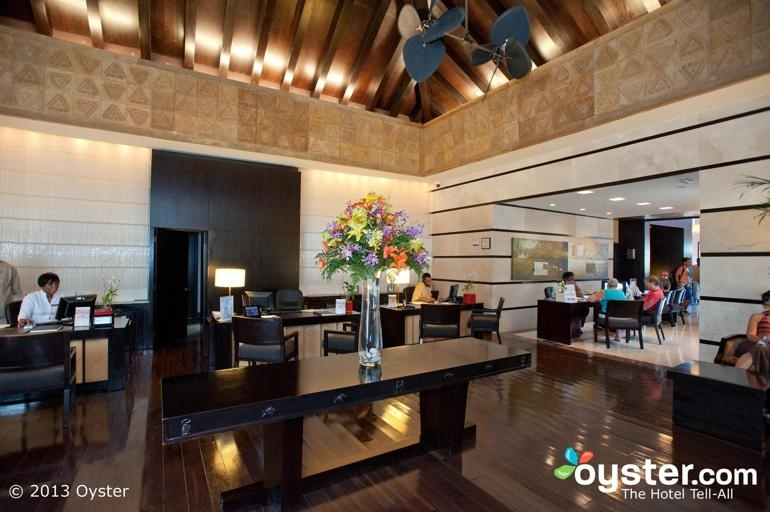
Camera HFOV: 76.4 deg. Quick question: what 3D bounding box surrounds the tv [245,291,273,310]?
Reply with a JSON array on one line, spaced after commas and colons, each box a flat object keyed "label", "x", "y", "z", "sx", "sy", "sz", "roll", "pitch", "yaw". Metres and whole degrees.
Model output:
[{"label": "tv", "x": -2.148, "y": 0.662, "z": 8.283, "sx": 0.498, "sy": 0.422, "sz": 0.269, "roll": 1, "pitch": -5, "yaw": -9}]

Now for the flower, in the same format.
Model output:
[{"label": "flower", "x": -0.236, "y": -0.164, "z": 5.975, "sx": 1.247, "sy": 1.091, "sz": 1.045, "roll": -1, "pitch": 2, "yaw": -14}]

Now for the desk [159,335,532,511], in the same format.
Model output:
[{"label": "desk", "x": -0.519, "y": 1.993, "z": 5.648, "sx": 3.798, "sy": 1.617, "sz": 0.826, "roll": -2, "pitch": 6, "yaw": -19}]

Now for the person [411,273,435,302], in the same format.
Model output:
[{"label": "person", "x": 0.804, "y": 0.663, "z": 10.070, "sx": 0.548, "sy": 0.801, "sz": 0.613, "roll": 1, "pitch": 2, "yaw": 14}]

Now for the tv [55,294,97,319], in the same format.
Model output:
[{"label": "tv", "x": -4.674, "y": 0.775, "z": 7.363, "sx": 0.350, "sy": 0.295, "sz": 0.120, "roll": 0, "pitch": 19, "yaw": -45}]

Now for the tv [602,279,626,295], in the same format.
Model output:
[{"label": "tv", "x": 5.021, "y": 0.694, "z": 10.733, "sx": 0.369, "sy": 0.378, "sz": 0.216, "roll": 3, "pitch": 7, "yaw": 28}]

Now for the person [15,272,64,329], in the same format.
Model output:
[{"label": "person", "x": -5.419, "y": 0.705, "z": 7.620, "sx": 0.504, "sy": 1.011, "sz": 0.732, "roll": -2, "pitch": -4, "yaw": 29}]

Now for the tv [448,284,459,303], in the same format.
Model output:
[{"label": "tv", "x": 1.401, "y": 0.770, "z": 9.921, "sx": 0.122, "sy": 0.351, "sz": 0.346, "roll": 3, "pitch": -3, "yaw": -2}]

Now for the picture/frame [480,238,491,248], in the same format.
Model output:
[{"label": "picture/frame", "x": 2.262, "y": -0.292, "z": 10.909, "sx": 0.071, "sy": 0.206, "sz": 0.217, "roll": 2, "pitch": -2, "yaw": -26}]

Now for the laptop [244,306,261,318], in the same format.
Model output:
[{"label": "laptop", "x": -2.052, "y": 0.848, "z": 7.600, "sx": 0.296, "sy": 0.156, "sz": 0.302, "roll": 1, "pitch": 8, "yaw": 4}]

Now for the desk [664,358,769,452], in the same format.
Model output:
[{"label": "desk", "x": 4.376, "y": 1.937, "z": 6.455, "sx": 0.982, "sy": 0.738, "sz": 0.969, "roll": 3, "pitch": -2, "yaw": -40}]
